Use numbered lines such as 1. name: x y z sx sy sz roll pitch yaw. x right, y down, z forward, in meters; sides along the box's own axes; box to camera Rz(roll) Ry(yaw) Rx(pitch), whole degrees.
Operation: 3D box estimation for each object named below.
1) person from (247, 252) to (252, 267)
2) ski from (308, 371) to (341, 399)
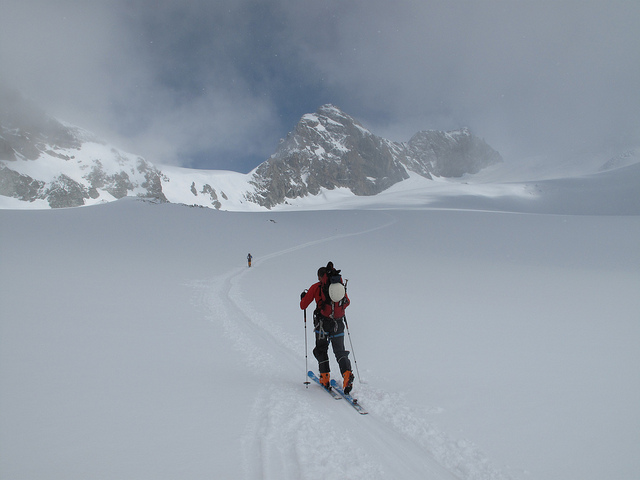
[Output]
1. person: -5.667 1.626 43.009 0.261 1.013 1.345 -1 8 -8
2. ski: 0.130 5.679 20.879 0.212 0.142 1.582 -8 33 -27
